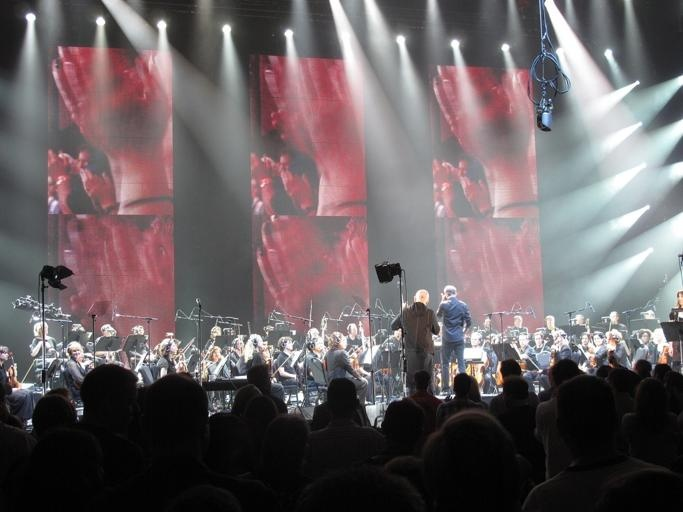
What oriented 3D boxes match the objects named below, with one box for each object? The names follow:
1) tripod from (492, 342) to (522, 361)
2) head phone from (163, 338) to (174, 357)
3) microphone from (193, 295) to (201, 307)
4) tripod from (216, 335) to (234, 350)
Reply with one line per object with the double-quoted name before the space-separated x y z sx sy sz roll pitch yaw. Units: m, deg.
"tripod" 3.176 1.822 15.582 0.544 0.353 0.368 10 -17 -44
"head phone" -3.411 1.817 16.112 0.144 0.339 0.427 -3 -12 7
"microphone" -3.436 1.077 19.557 0.143 0.314 0.247 -13 12 -43
"tripod" -2.327 1.735 16.405 0.273 0.075 0.315 -13 -4 8
